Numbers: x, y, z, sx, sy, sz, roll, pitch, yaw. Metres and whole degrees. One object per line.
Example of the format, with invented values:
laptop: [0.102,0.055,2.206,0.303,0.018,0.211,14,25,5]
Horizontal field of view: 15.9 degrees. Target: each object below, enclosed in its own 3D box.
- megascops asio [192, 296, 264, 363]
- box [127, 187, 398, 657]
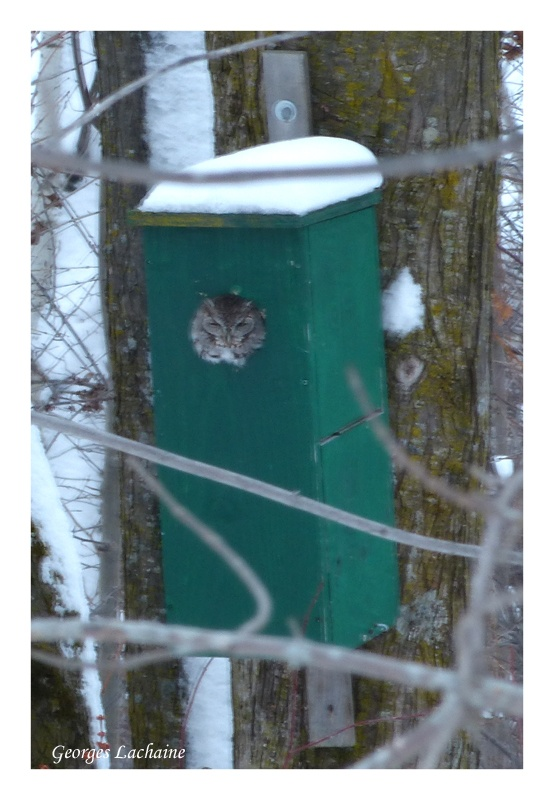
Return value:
megascops asio: [-0.271,-0.359,10.675,0.312,0.388,0.158,8,33,14]
box: [0.011,-0.018,11.132,1.075,2.290,0.899,8,18,38]
